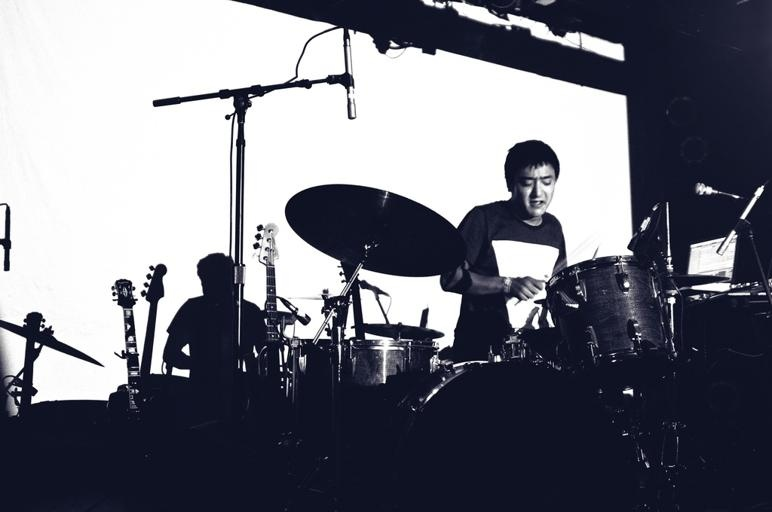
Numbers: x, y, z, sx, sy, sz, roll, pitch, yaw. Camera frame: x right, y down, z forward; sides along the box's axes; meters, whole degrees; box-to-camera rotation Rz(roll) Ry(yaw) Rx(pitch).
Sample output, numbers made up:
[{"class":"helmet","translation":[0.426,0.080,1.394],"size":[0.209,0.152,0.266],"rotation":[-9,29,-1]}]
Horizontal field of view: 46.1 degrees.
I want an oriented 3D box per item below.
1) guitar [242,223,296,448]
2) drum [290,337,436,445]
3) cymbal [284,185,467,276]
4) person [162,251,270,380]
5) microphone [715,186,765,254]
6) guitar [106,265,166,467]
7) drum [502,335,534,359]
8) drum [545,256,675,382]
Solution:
[{"class":"guitar","translation":[-0.772,0.527,6.431],"size":[0.382,1.610,0.646],"rotation":[4,-15,-8]},{"class":"drum","translation":[-0.176,0.912,6.125],"size":[0.722,0.498,0.801],"rotation":[-3,-8,34]},{"class":"cymbal","translation":[-0.068,-0.157,6.031],"size":[1.190,0.391,0.787],"rotation":[3,-15,-7]},{"class":"person","translation":[-1.284,0.466,6.688],"size":[0.794,1.010,0.571],"rotation":[-3,-17,10]},{"class":"microphone","translation":[2.922,-0.273,7.451],"size":[0.117,0.707,0.101],"rotation":[44,-12,-26]},{"class":"guitar","translation":[-1.744,0.723,6.473],"size":[0.361,1.422,0.601],"rotation":[15,-20,-42]},{"class":"drum","translation":[0.922,0.617,6.327],"size":[0.209,0.207,0.322],"rotation":[-1,-15,8]},{"class":"drum","translation":[1.567,0.530,6.418],"size":[0.794,0.754,0.816],"rotation":[-26,-41,36]}]
